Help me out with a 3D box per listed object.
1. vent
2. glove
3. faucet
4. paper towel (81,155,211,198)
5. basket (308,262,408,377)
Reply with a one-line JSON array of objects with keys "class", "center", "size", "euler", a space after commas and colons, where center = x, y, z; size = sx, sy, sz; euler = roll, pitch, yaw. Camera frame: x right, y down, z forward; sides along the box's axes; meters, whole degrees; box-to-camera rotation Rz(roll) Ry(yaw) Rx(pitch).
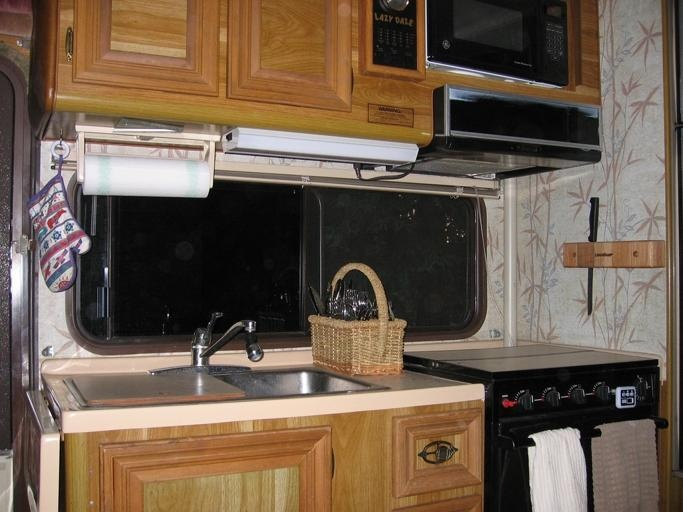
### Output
[{"class": "vent", "center": [0.633, -0.494, 2.644], "size": [0.780, 0.242, 0.442], "euler": [0, -1, -24]}, {"class": "glove", "center": [-0.980, -0.092, 2.235], "size": [0.200, 0.439, 0.112], "euler": [-1, -1, 34]}, {"class": "faucet", "center": [-0.443, 0.325, 2.440], "size": [0.318, 0.212, 0.075], "euler": [-8, -5, 33]}, {"class": "paper towel", "center": [-0.684, -0.282, 2.286], "size": [0.435, 0.134, 0.117], "euler": [0, -1, -17]}, {"class": "basket", "center": [0.053, 0.248, 2.607], "size": [0.262, 0.436, 0.444], "euler": [2, -4, -26]}]
